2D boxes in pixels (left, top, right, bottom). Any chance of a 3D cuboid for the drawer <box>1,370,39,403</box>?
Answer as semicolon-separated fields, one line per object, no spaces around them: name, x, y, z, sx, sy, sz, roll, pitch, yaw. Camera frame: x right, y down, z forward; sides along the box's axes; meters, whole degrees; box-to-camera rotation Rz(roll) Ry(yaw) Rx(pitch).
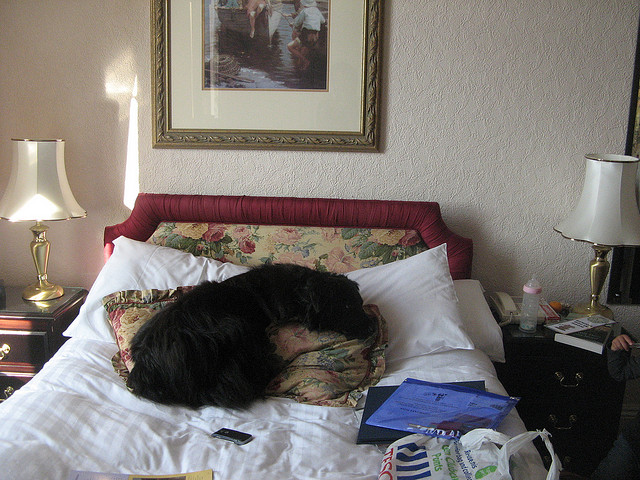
drawer;-1.434;0.659;2.418;0.139;0.166;0.040;7;10;-20

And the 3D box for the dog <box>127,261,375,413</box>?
dog;-0.270;0.339;1.989;0.758;0.289;0.500;-18;31;-33

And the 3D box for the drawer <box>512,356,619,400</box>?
drawer;1.109;0.608;2.307;0.221;0.206;0.117;2;25;10

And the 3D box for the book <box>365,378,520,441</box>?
book;0.406;0.586;1.770;0.411;0.032;0.389;0;22;23

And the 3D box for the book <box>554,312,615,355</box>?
book;1.175;0.427;2.309;0.160;0.044;0.228;9;26;33

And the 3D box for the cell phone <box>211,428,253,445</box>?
cell phone;-0.286;0.647;1.722;0.094;0.012;0.050;6;12;17

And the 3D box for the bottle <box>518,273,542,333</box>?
bottle;0.978;0.297;2.403;0.079;0.241;0.132;7;14;21

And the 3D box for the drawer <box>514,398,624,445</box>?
drawer;1.157;0.797;2.450;0.422;0.270;0.235;-4;19;4
